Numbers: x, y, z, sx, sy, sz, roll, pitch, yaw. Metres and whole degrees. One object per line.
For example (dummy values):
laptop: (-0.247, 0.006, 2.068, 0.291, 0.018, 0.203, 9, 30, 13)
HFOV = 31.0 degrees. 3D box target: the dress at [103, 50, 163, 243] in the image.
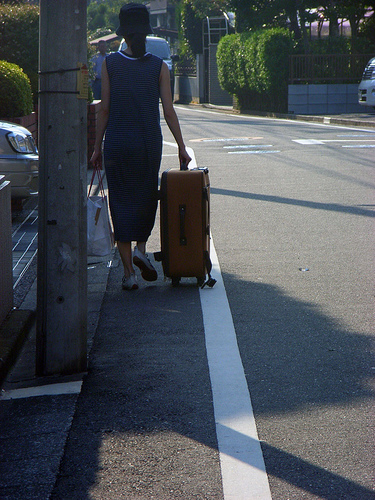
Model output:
dress: (-0.466, -0.715, 4.909, 0.427, 1.345, 0.544, 2, 17, -23)

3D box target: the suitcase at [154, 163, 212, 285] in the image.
suitcase: (0.034, -0.203, 5.264, 0.502, 1.308, 0.808, -1, 9, 0)

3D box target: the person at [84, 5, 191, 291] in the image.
person: (-0.358, -0.702, 4.825, 0.635, 2.000, 0.260, -2, 7, -11)
